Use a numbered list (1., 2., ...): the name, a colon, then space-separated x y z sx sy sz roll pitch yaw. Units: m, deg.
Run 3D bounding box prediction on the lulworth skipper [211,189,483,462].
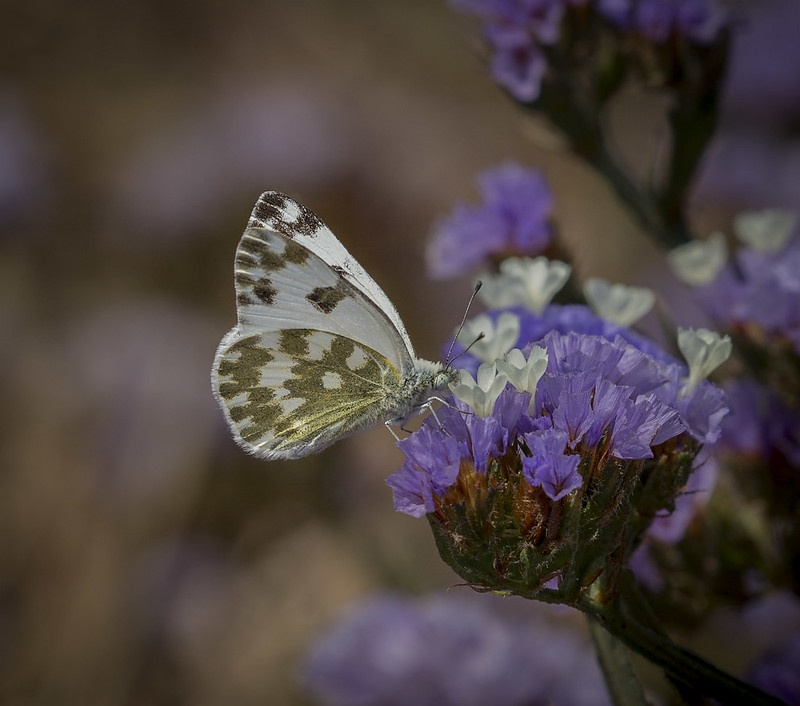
1. lulworth skipper: -0.011 -0.023 1.070 0.369 0.280 0.315 2 8 41
